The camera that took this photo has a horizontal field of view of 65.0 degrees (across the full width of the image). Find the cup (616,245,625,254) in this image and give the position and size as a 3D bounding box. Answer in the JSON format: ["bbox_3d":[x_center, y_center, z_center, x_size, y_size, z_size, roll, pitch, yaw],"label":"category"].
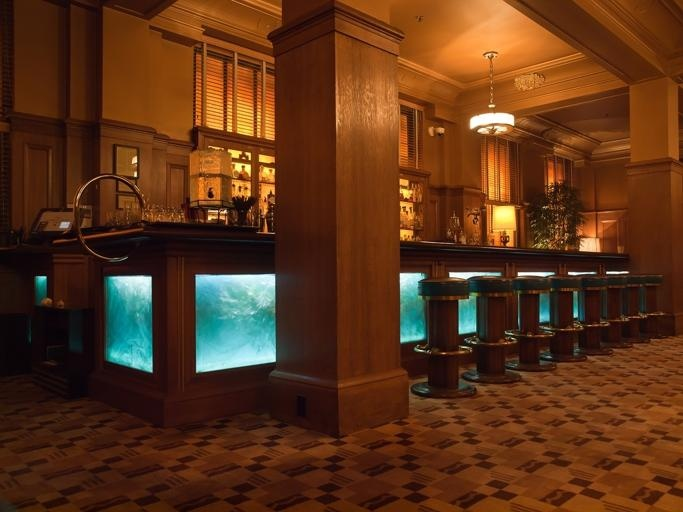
[{"bbox_3d":[7.517,-0.210,14.390,0.177,0.284,0.181,4,-3,0],"label":"cup"}]

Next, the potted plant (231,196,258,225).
[{"bbox_3d":[-0.801,-0.379,4.343,0.151,0.223,0.136,-3,4,-37],"label":"potted plant"}]

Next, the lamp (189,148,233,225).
[{"bbox_3d":[-1.097,-0.602,4.488,0.346,0.628,0.334,-1,4,-17],"label":"lamp"}]

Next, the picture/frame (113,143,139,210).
[{"bbox_3d":[-2.638,-0.982,6.502,0.268,0.792,0.339,0,3,-1],"label":"picture/frame"}]

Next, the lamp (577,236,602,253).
[{"bbox_3d":[6.004,-0.298,12.972,0.424,0.451,0.419,-3,7,-40],"label":"lamp"}]
